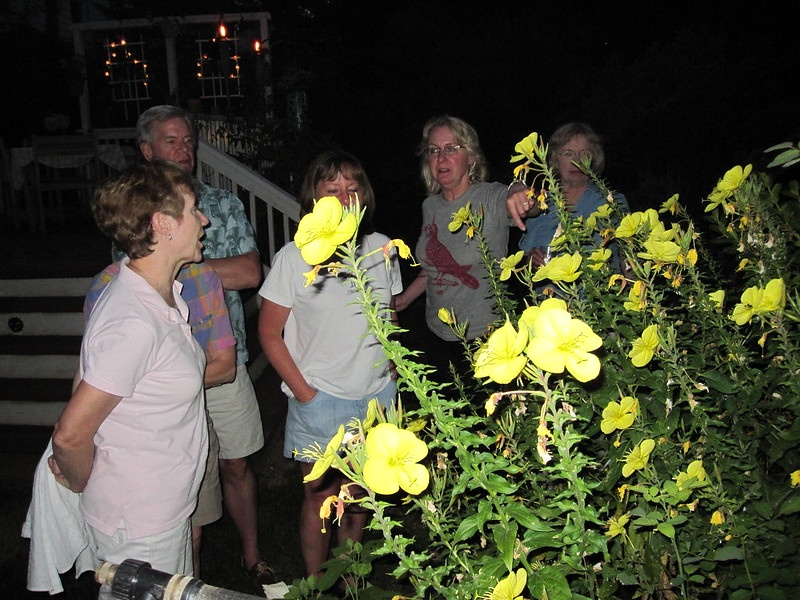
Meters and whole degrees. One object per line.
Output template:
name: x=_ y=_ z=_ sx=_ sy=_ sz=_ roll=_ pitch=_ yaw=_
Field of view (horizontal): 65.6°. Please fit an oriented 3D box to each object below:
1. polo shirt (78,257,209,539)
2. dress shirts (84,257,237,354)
polo shirt: x=-0.999 y=0.403 z=2.457 sx=0.478 sy=1.033 sz=0.268 roll=0 pitch=7 yaw=-28
dress shirts: x=-1.123 y=0.013 z=2.871 sx=0.680 sy=0.508 sz=0.353 roll=-5 pitch=16 yaw=-41
